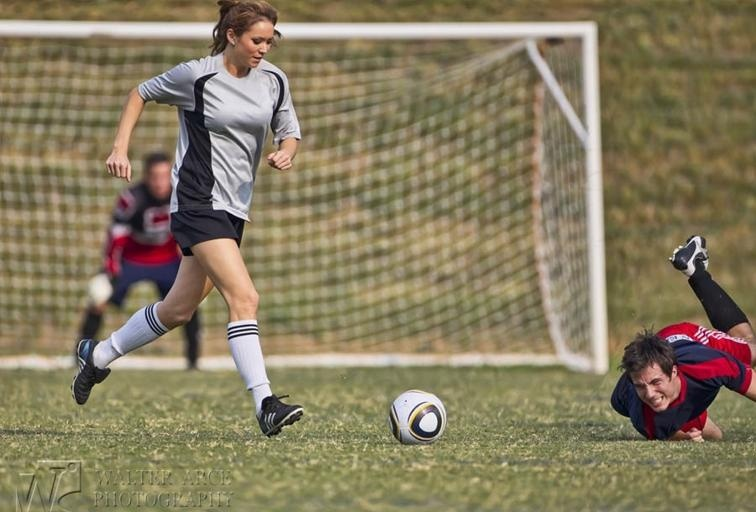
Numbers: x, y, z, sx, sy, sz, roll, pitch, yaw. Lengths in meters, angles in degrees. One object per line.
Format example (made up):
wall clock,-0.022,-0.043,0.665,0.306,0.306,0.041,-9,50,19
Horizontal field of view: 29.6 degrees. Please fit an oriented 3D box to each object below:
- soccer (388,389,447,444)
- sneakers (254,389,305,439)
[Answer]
soccer,0.329,1.335,11.682,0.441,0.396,0.417,8,-17,5
sneakers,-0.878,1.292,11.617,0.537,0.286,0.199,-25,14,39
